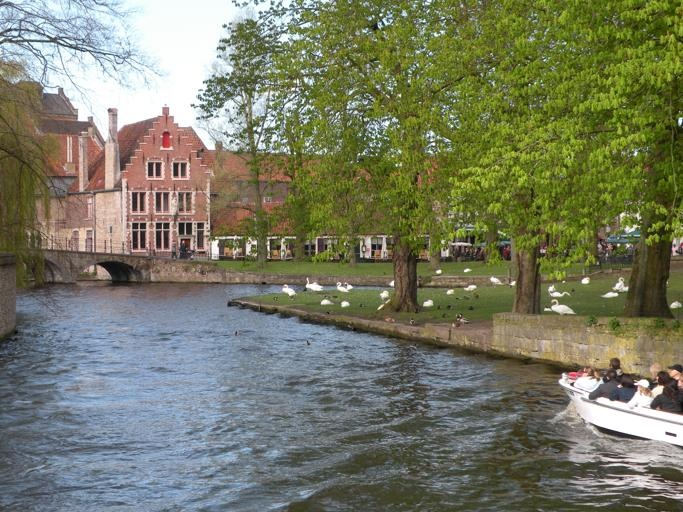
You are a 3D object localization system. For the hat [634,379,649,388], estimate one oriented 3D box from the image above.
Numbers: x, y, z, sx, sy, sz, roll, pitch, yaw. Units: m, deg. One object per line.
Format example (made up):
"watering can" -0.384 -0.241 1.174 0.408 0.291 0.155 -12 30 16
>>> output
"hat" 9.191 4.008 32.441 0.486 0.139 0.485 1 1 9

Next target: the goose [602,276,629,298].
"goose" 13.396 1.623 51.755 0.584 0.749 1.782 7 14 39
